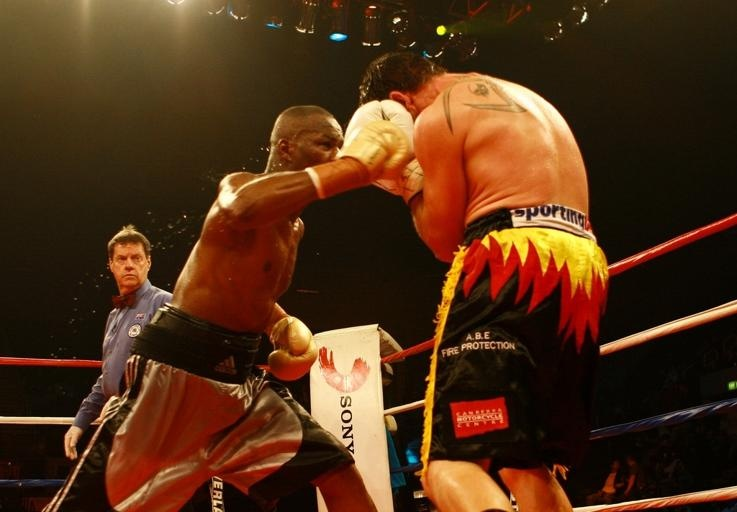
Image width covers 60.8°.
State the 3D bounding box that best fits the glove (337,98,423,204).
[{"bbox_3d":[0.045,-0.557,3.446,0.401,0.540,0.250,-5,-13,-23],"label":"glove"}]

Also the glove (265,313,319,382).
[{"bbox_3d":[-0.431,0.537,3.924,0.354,0.460,0.338,-3,10,-3],"label":"glove"}]
